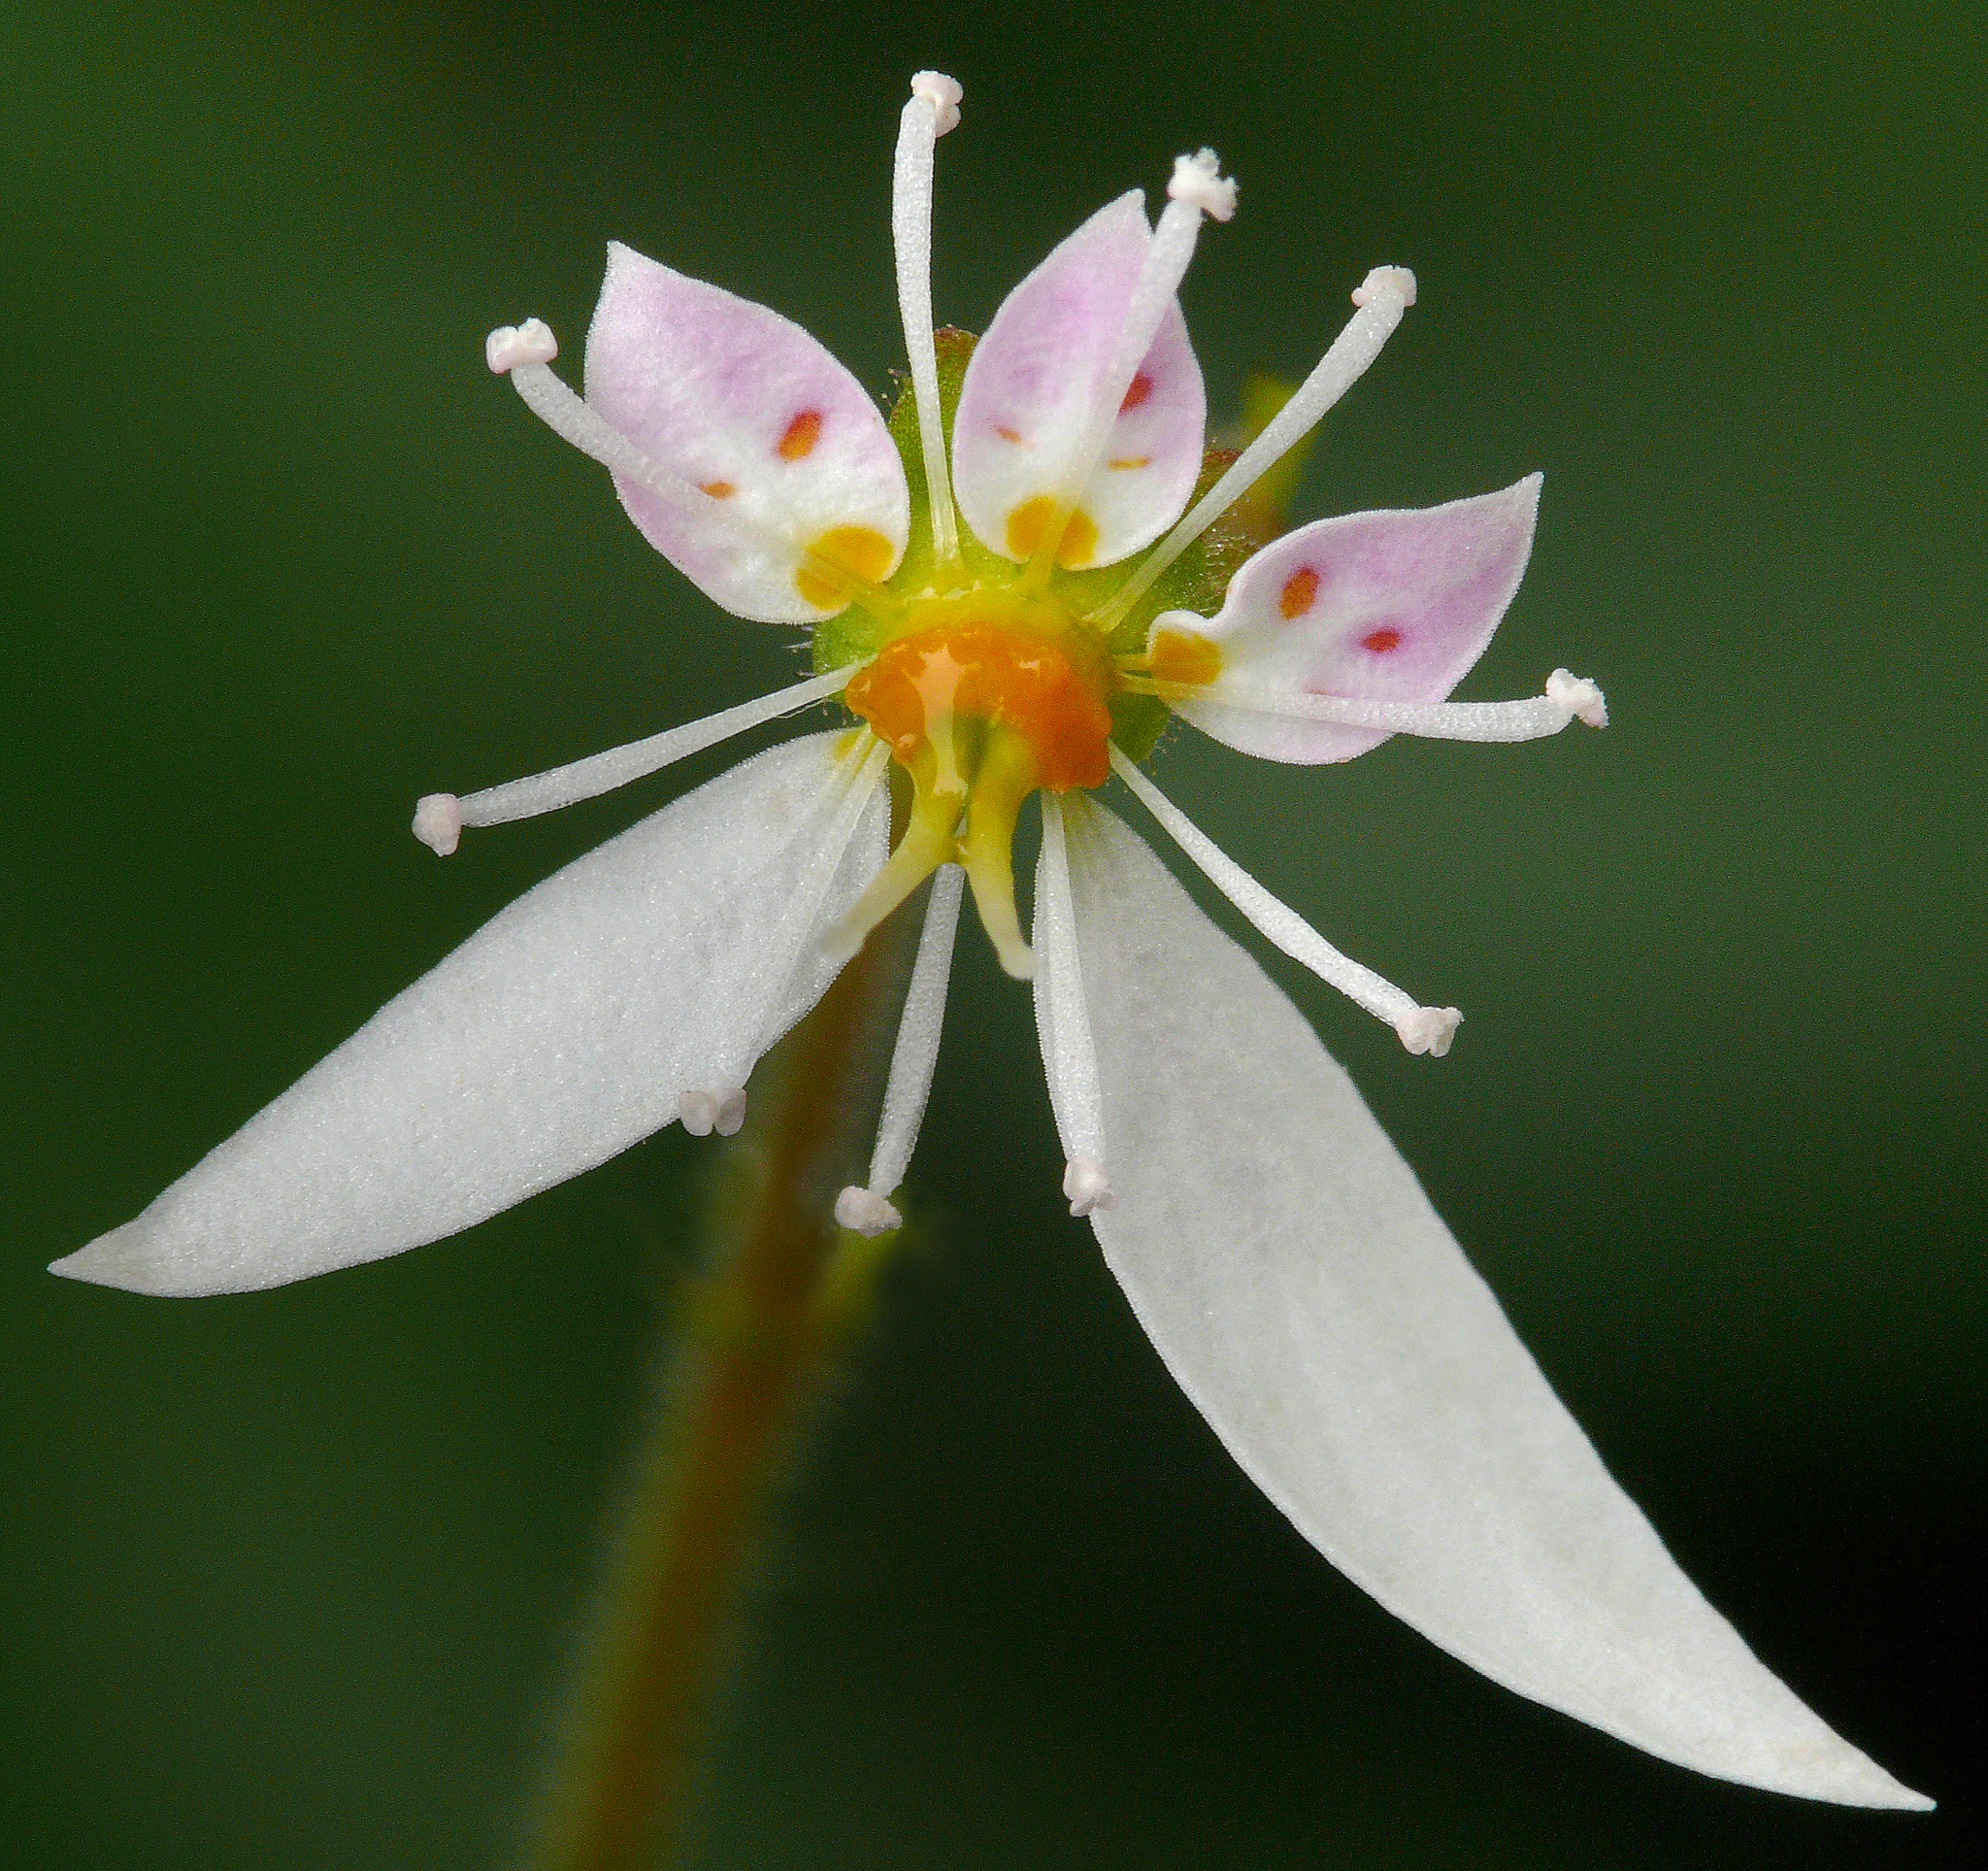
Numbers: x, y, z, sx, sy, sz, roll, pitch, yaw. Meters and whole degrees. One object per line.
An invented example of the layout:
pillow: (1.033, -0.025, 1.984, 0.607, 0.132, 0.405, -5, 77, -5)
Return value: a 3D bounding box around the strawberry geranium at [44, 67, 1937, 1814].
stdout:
strawberry geranium: (0.016, -0.023, 0.719, 0.469, 0.383, 0.145, 7, 9, 6)
